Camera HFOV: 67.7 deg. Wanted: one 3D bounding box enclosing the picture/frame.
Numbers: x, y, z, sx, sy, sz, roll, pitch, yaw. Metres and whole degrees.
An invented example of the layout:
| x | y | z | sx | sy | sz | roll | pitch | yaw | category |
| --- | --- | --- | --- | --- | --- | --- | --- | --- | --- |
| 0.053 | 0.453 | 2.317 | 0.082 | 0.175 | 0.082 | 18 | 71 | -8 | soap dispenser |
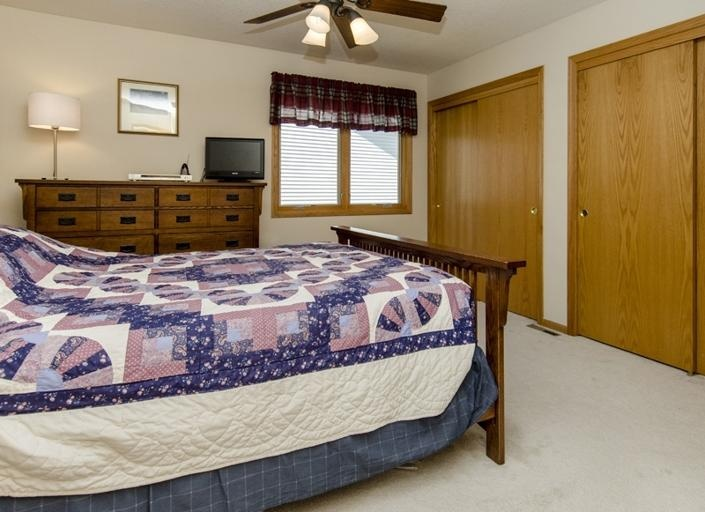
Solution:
| x | y | z | sx | sy | sz | roll | pitch | yaw | category |
| --- | --- | --- | --- | --- | --- | --- | --- | --- | --- |
| -1.862 | -1.346 | 4.736 | 0.574 | 0.529 | 0.039 | 0 | 1 | -24 | picture/frame |

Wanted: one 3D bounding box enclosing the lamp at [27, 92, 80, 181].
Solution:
| x | y | z | sx | sy | sz | roll | pitch | yaw | category |
| --- | --- | --- | --- | --- | --- | --- | --- | --- | --- |
| -2.444 | -0.994 | 4.362 | 0.402 | 0.682 | 0.374 | -6 | 9 | -29 | lamp |
